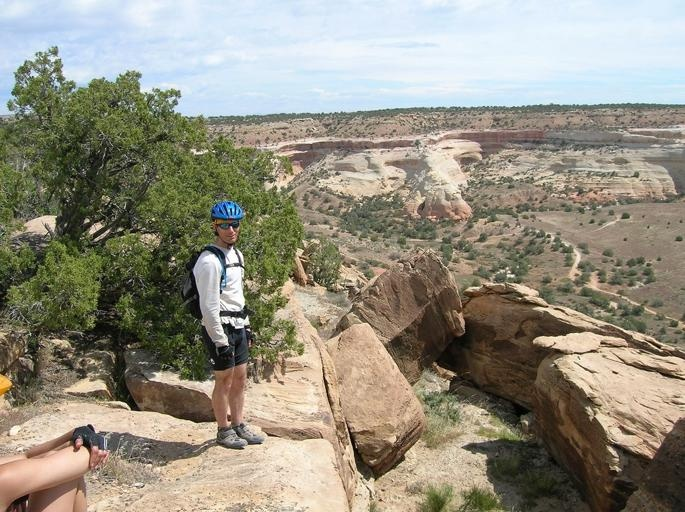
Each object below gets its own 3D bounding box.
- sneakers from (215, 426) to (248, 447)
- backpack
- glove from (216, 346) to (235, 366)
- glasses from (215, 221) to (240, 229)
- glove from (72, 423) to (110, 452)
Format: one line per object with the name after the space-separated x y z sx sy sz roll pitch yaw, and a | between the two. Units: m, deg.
-1.336 2.162 5.113 0.406 0.156 0.184 6 13 16 | sneakers
-1.504 0.256 4.732 0.540 0.451 0.377 9 5 -6 | backpack
-1.286 1.084 4.630 0.195 0.199 0.199 15 -16 -31 | glove
-1.310 -0.348 4.815 0.247 0.111 0.101 7 5 -19 | glasses
-1.892 1.375 3.217 0.282 0.202 0.105 25 -36 -14 | glove
